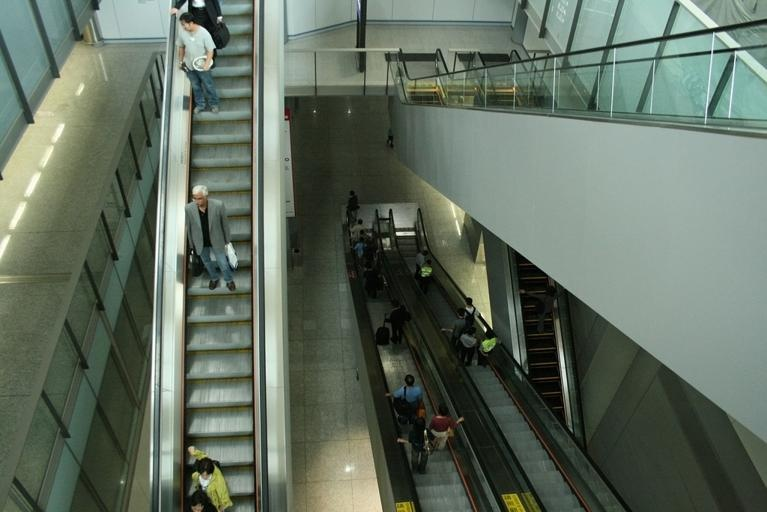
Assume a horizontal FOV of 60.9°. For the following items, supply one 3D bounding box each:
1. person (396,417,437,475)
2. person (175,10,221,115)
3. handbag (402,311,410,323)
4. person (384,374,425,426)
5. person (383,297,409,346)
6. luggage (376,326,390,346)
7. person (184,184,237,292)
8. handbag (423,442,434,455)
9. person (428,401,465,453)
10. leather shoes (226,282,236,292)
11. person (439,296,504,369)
[{"bbox_3d":[0.583,3.314,11.571,0.572,1.314,0.416,-1,32,-1],"label":"person"},{"bbox_3d":[-3.299,-3.416,11.736,0.656,1.657,0.830,-8,8,-14],"label":"person"},{"bbox_3d":[0.528,1.350,14.569,0.145,0.215,0.193,-2,-9,-4],"label":"handbag"},{"bbox_3d":[0.394,2.742,12.288,0.978,0.648,1.917,-1,-29,-1],"label":"person"},{"bbox_3d":[0.318,1.454,14.672,0.460,1.232,0.354,-16,42,-23],"label":"person"},{"bbox_3d":[0.019,1.819,14.805,0.354,0.662,0.393,0,53,1],"label":"luggage"},{"bbox_3d":[-2.779,-0.241,10.566,0.650,1.805,0.794,-8,8,-15],"label":"person"},{"bbox_3d":[0.806,3.353,11.385,0.045,0.170,0.183,-40,31,-27],"label":"handbag"},{"bbox_3d":[1.082,3.090,11.697,0.571,1.350,0.397,5,46,2],"label":"person"},{"bbox_3d":[-2.518,0.504,10.876,0.085,0.186,0.075,-36,1,1],"label":"leather shoes"},{"bbox_3d":[1.935,1.641,13.931,0.892,1.561,1.473,0,10,35],"label":"person"}]
